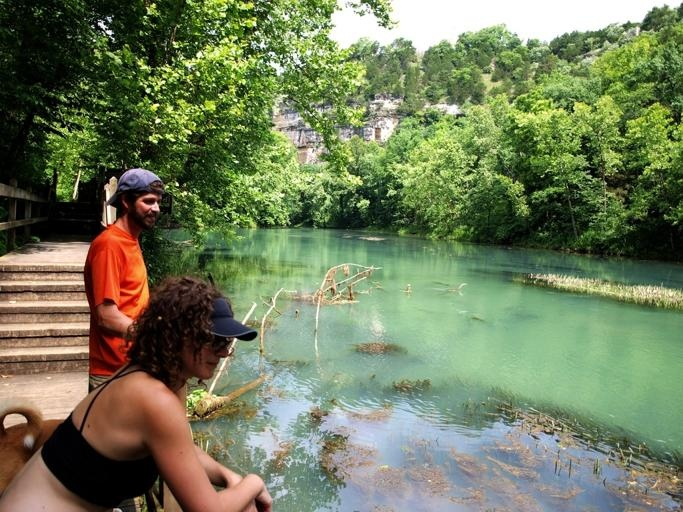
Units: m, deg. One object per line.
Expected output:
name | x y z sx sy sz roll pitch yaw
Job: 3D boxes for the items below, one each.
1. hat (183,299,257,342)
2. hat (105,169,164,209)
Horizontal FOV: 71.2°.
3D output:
hat | -0.677 0.436 2.942 0.516 0.256 0.326 8 -7 13
hat | -1.932 -0.629 4.438 0.447 0.257 0.318 1 9 -1
